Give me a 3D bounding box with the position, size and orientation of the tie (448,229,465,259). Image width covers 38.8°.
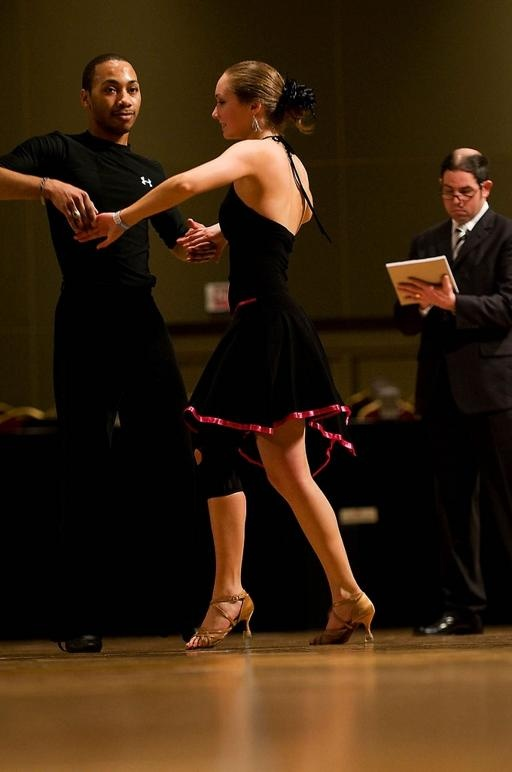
[{"bbox_3d":[0.662,-0.473,2.397,0.024,0.091,0.056,12,-14,-32],"label":"tie"}]

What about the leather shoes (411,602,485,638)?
[{"bbox_3d":[0.602,0.721,2.227,0.141,0.055,0.098,-3,-1,-6],"label":"leather shoes"}]

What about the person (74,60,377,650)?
[{"bbox_3d":[-0.204,-0.065,3.010,1.473,2.612,1.064,1,-8,5],"label":"person"}]

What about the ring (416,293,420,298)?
[{"bbox_3d":[0.475,-0.266,2.132,0.011,0.010,0.005,1,15,41],"label":"ring"}]

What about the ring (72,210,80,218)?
[{"bbox_3d":[-0.481,-0.459,1.933,0.011,0.027,0.012,-14,-13,-1],"label":"ring"}]

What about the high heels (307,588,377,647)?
[{"bbox_3d":[0.212,0.575,1.788,0.148,0.120,0.069,-3,-15,6],"label":"high heels"}]

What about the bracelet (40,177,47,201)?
[{"bbox_3d":[-0.585,-0.544,1.993,0.017,0.057,0.041,4,-15,-18],"label":"bracelet"}]
